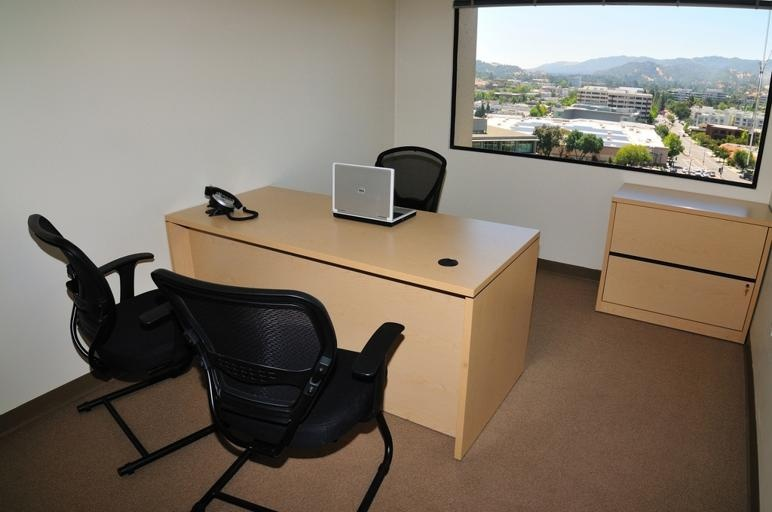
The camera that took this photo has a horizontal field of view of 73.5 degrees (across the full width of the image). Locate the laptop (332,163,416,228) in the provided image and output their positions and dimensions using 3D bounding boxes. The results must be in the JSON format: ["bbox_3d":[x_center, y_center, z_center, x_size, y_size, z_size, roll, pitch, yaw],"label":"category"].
[{"bbox_3d":[-0.075,-0.511,3.967,0.587,0.482,0.459,10,21,26],"label":"laptop"}]

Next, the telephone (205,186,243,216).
[{"bbox_3d":[-1.256,-0.440,3.992,0.205,0.123,0.283,13,20,-40],"label":"telephone"}]

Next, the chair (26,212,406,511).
[{"bbox_3d":[-1.079,0.710,3.268,1.464,1.020,0.733,15,32,20],"label":"chair"}]

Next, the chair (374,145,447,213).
[{"bbox_3d":[0.297,-0.759,4.884,0.598,0.905,0.650,5,19,18],"label":"chair"}]
